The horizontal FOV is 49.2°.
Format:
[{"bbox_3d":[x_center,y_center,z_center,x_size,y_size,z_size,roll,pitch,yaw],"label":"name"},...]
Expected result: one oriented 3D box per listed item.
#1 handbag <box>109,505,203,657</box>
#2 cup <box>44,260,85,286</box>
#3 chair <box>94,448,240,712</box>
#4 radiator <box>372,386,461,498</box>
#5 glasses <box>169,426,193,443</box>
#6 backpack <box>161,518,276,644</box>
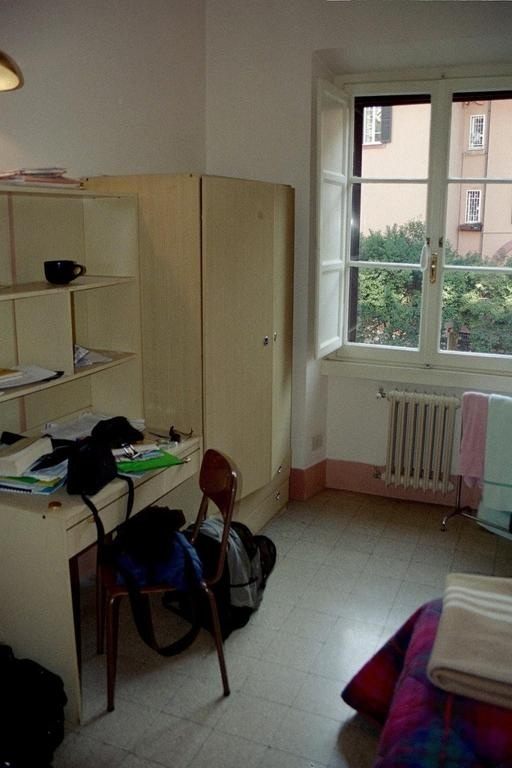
[{"bbox_3d":[-0.328,0.601,1.791,0.286,0.510,0.117,-5,-14,-21],"label":"handbag"},{"bbox_3d":[-0.665,-0.378,1.968,0.136,0.076,0.093,-2,4,-36],"label":"cup"},{"bbox_3d":[-0.315,0.606,1.881,0.470,0.743,0.503,5,12,5],"label":"chair"},{"bbox_3d":[0.966,0.317,3.298,0.550,0.715,0.143,8,14,31],"label":"radiator"},{"bbox_3d":[-0.315,0.209,2.312,0.053,0.037,0.073,4,14,7],"label":"glasses"},{"bbox_3d":[-0.101,0.760,2.204,0.162,0.477,0.347,-24,-38,35],"label":"backpack"}]
